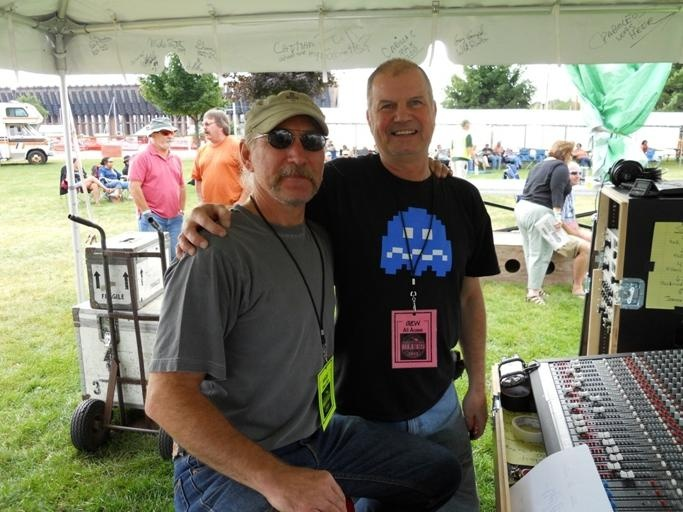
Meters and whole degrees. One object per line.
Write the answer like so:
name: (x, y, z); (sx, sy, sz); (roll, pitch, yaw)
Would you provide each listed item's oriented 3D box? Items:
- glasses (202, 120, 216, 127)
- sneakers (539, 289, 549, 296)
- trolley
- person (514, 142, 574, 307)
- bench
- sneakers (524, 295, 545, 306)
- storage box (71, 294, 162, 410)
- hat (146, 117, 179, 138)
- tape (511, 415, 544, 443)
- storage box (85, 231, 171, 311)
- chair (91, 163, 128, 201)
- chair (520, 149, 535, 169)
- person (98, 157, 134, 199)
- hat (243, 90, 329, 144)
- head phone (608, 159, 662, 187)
glasses: (-1.558, -1.560, 5.932); (0.079, 0.060, 0.106); (0, 2, 29)
sneakers: (2.841, 0.522, 7.074); (0.122, 0.048, 0.123); (36, 18, 15)
trolley: (-1.610, 0.564, 4.290); (1.042, 1.715, 1.685); (1, 4, 0)
person: (2.634, -0.423, 6.598); (0.558, 2.104, 0.733); (-1, 11, -7)
bench: (2.870, 0.010, 7.794); (1.243, 0.684, 0.915); (1, 12, 12)
sneakers: (2.600, 0.594, 6.760); (0.113, 0.099, 0.230); (-2, 6, -31)
storage box: (-1.657, 0.698, 3.733); (0.493, 0.647, 0.872); (4, 7, 0)
hat: (-2.196, -1.541, 6.044); (0.309, 0.128, 0.245); (-3, 7, 30)
tape: (0.952, 0.889, 2.577); (0.137, 0.059, 0.161); (2, 11, 15)
storage box: (-1.626, 0.063, 4.144); (0.562, 0.709, 0.993); (0, 9, 4)
chair: (-6.943, -2.352, 15.287); (0.520, 1.323, 0.722); (-8, -7, -36)
chair: (8.339, -4.437, 22.608); (0.638, 0.896, 0.842); (0, 16, 10)
person: (-6.890, -2.298, 15.333); (1.113, 1.406, 0.789); (-2, 3, 30)
hat: (-0.263, -0.646, 2.404); (0.375, 0.184, 0.508); (-9, 4, -13)
head phone: (1.898, -0.511, 3.256); (0.235, 0.136, 0.194); (0, 4, 13)
